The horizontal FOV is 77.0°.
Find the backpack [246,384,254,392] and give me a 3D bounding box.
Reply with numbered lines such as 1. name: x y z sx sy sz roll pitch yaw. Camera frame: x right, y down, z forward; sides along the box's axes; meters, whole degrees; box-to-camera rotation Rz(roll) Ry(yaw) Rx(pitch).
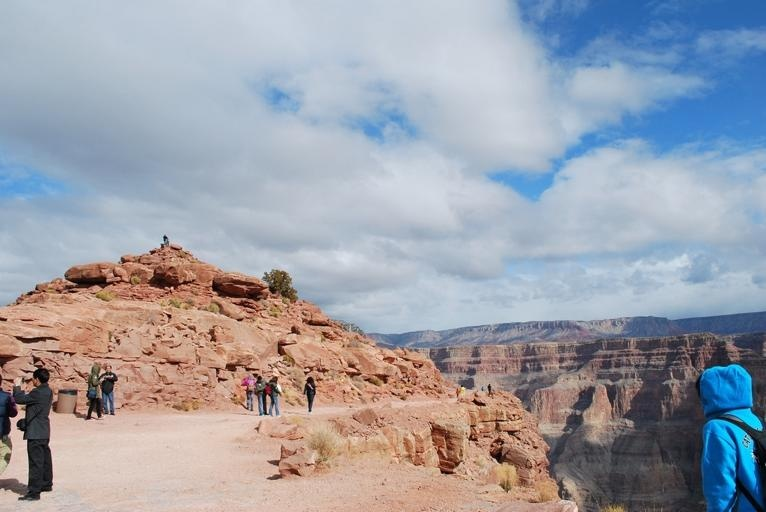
1. backpack: -7.246 7.191 26.444 0.536 0.406 0.420 1 -20 -6

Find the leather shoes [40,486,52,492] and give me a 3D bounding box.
1. leather shoes: -9.676 6.681 13.801 0.186 0.129 0.174 -4 -16 18

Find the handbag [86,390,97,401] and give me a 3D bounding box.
1. handbag: -12.894 6.097 21.322 0.411 0.511 0.189 10 -4 -29

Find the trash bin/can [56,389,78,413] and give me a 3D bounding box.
1. trash bin/can: -14.411 6.549 21.829 0.783 1.209 0.688 10 -4 -33
